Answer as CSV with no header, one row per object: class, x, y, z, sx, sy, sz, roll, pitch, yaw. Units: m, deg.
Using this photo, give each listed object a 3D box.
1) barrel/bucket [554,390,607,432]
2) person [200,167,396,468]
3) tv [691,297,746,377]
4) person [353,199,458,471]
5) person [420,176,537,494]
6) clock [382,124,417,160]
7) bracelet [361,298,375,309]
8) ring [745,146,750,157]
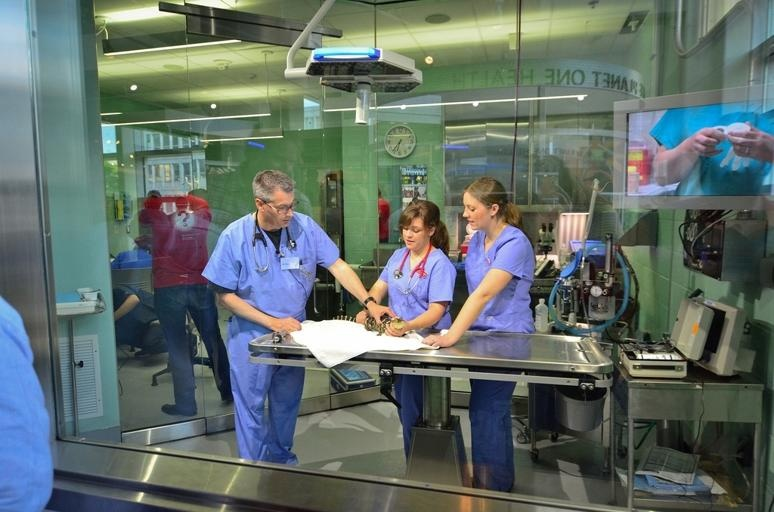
barrel/bucket,1.022,0.791,3.544,0.321,0.291,0.315,2,0,0
person,-0.472,0.472,3.746,1.150,1.804,0.755,3,14,9
tv,1.844,0.440,3.480,0.223,0.372,0.385,3,3,4
person,0.150,0.514,3.807,0.614,1.606,0.586,-9,19,-16
person,0.551,0.429,3.503,0.475,1.694,0.596,-3,9,18
clock,0.083,-0.745,4.161,0.218,0.206,0.022,6,11,25
bracelet,-0.101,0.250,3.667,0.064,0.041,0.065,-39,-42,18
ring,1.822,-0.544,3.292,0.011,0.033,0.025,9,0,-11
